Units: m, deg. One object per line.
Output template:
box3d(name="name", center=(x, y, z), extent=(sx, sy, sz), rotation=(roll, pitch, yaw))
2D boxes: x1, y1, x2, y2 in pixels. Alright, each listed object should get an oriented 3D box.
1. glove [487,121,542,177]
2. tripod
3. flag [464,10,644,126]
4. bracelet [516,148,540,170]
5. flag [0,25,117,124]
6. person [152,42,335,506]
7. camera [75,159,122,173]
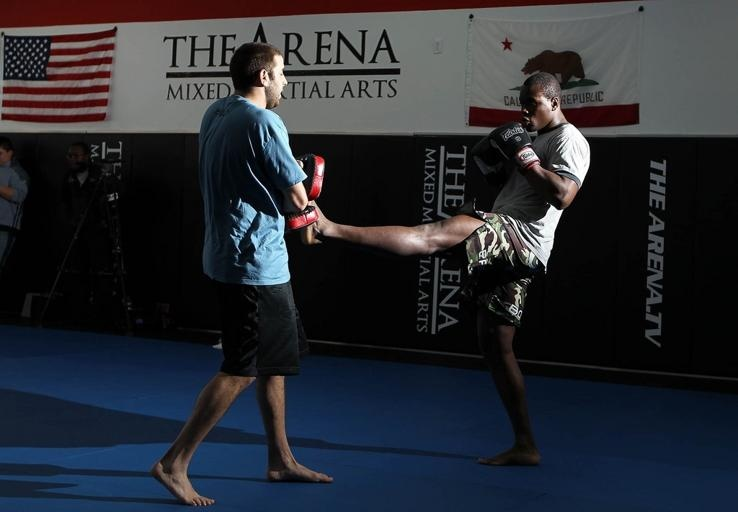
box3d(name="glove", center=(0.959, -0.719, 4.386), extent=(0.349, 0.275, 0.139), rotation=(49, 4, 26))
box3d(name="tripod", center=(-3.113, -0.115, 7.376), extent=(1.068, 1.820, 0.458), rotation=(3, 9, 7))
box3d(name="flag", center=(1.852, -1.840, 6.399), extent=(1.600, 1.148, 0.078), rotation=(0, -1, 12))
box3d(name="bracelet", center=(1.010, -0.607, 4.267), extent=(0.112, 0.053, 0.149), rotation=(-19, 43, -8))
box3d(name="flag", center=(-3.710, -2.152, 7.872), extent=(1.506, 1.106, 0.158), rotation=(4, 9, 12))
box3d(name="person", center=(-0.746, 0.091, 3.997), extent=(0.938, 2.725, 0.473), rotation=(-1, 9, -18))
box3d(name="camera", center=(-2.976, -0.992, 7.261), extent=(0.309, 0.102, 0.306), rotation=(2, 4, 29))
